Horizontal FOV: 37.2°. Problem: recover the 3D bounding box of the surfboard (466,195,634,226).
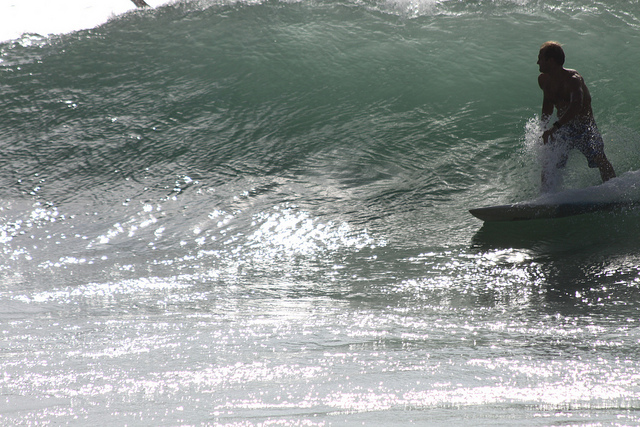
[{"bbox_3d":[2.626,-0.040,10.761,1.943,0.107,0.234,-3,26,4],"label":"surfboard"}]
